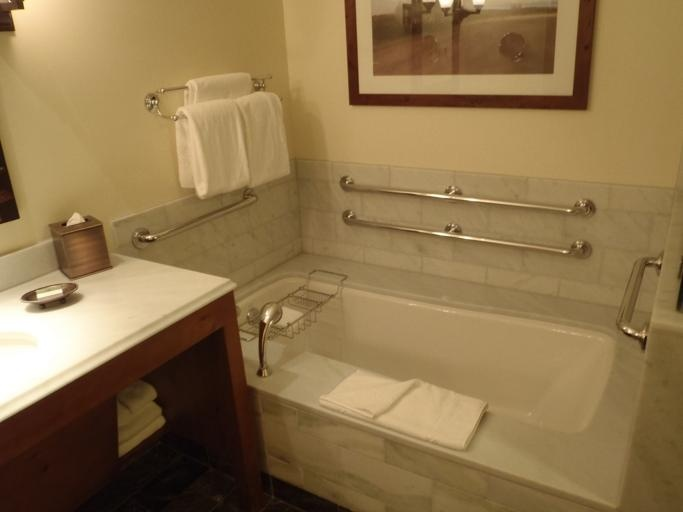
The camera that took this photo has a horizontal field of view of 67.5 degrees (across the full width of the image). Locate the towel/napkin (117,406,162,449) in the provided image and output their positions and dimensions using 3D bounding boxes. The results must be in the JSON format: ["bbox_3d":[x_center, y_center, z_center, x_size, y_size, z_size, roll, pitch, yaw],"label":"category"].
[{"bbox_3d":[-0.886,0.745,2.256,0.145,0.057,0.149,-3,17,31],"label":"towel/napkin"}]

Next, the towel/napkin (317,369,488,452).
[{"bbox_3d":[0.274,0.637,2.143,0.439,0.067,0.306,10,21,23],"label":"towel/napkin"}]

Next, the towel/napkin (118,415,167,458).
[{"bbox_3d":[-0.886,0.759,2.252,0.161,0.041,0.163,-6,11,23],"label":"towel/napkin"}]

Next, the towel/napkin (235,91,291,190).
[{"bbox_3d":[-0.404,-0.615,2.694,0.136,0.455,0.384,12,26,30],"label":"towel/napkin"}]

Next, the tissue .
[{"bbox_3d":[-1.107,-0.045,2.159,0.184,0.210,0.177,-22,33,-36],"label":"tissue "}]

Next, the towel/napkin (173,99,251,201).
[{"bbox_3d":[-0.634,-0.537,2.482,0.179,0.400,0.349,13,29,31],"label":"towel/napkin"}]
